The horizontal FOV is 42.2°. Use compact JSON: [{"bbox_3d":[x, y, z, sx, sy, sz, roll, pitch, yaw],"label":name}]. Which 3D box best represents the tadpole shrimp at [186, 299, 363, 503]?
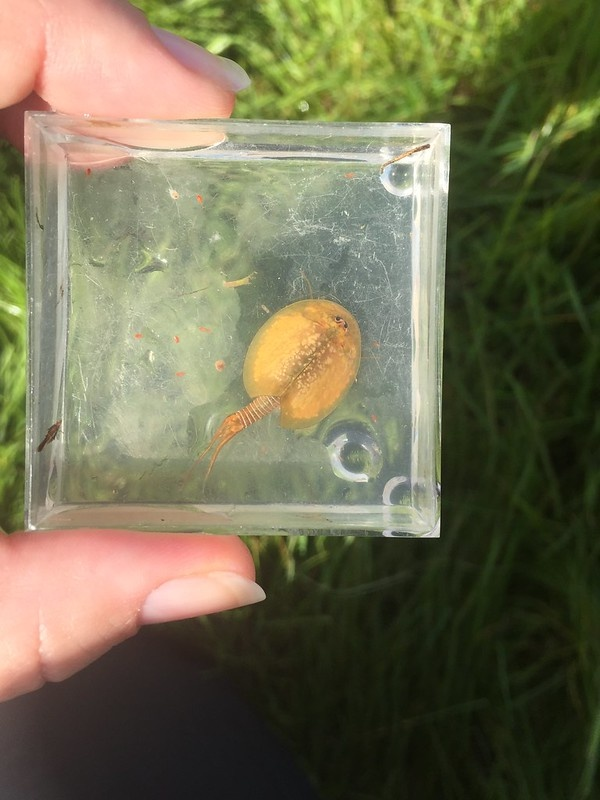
[{"bbox_3d":[0.002,-0.010,1.018,0.229,0.221,0.173,8,-49,12],"label":"tadpole shrimp"}]
